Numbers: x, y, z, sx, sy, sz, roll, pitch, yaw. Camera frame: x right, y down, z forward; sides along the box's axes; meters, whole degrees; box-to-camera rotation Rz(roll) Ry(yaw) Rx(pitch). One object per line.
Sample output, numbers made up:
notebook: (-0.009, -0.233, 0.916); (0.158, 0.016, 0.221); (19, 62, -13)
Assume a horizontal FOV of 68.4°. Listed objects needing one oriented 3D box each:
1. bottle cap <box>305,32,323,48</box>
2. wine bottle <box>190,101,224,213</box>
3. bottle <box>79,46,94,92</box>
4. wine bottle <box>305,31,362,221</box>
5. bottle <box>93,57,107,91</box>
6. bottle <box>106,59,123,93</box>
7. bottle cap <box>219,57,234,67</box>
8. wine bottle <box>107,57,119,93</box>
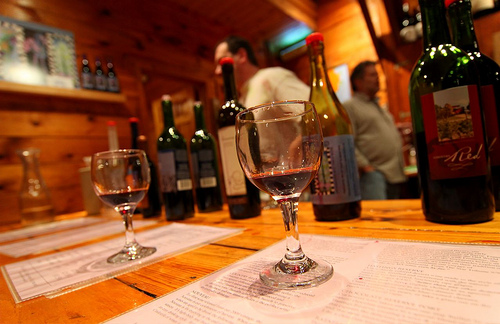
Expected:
bottle cap: (0.218, -0.398, 1.200); (0.044, 0.027, 0.045); (-3, 1, 2)
wine bottle: (-0.206, -0.040, 1.599); (0.123, 0.429, 0.105); (-1, 19, 4)
bottle: (-1.230, -0.696, 2.757); (0.076, 0.327, 0.133); (-8, -1, 4)
wine bottle: (0.258, -0.139, 1.252); (0.166, 0.668, 0.179); (-8, -2, 0)
bottle: (-1.162, -0.677, 2.818); (0.066, 0.261, 0.144); (-8, -1, 15)
bottle: (-1.087, -0.675, 2.914); (0.076, 0.274, 0.211); (-8, -1, -5)
bottle cap: (-0.089, -0.365, 1.359); (0.040, 0.019, 0.038); (0, 8, 16)
wine bottle: (-1.096, -0.689, 2.916); (0.071, 0.285, 0.133); (-7, 0, -12)
